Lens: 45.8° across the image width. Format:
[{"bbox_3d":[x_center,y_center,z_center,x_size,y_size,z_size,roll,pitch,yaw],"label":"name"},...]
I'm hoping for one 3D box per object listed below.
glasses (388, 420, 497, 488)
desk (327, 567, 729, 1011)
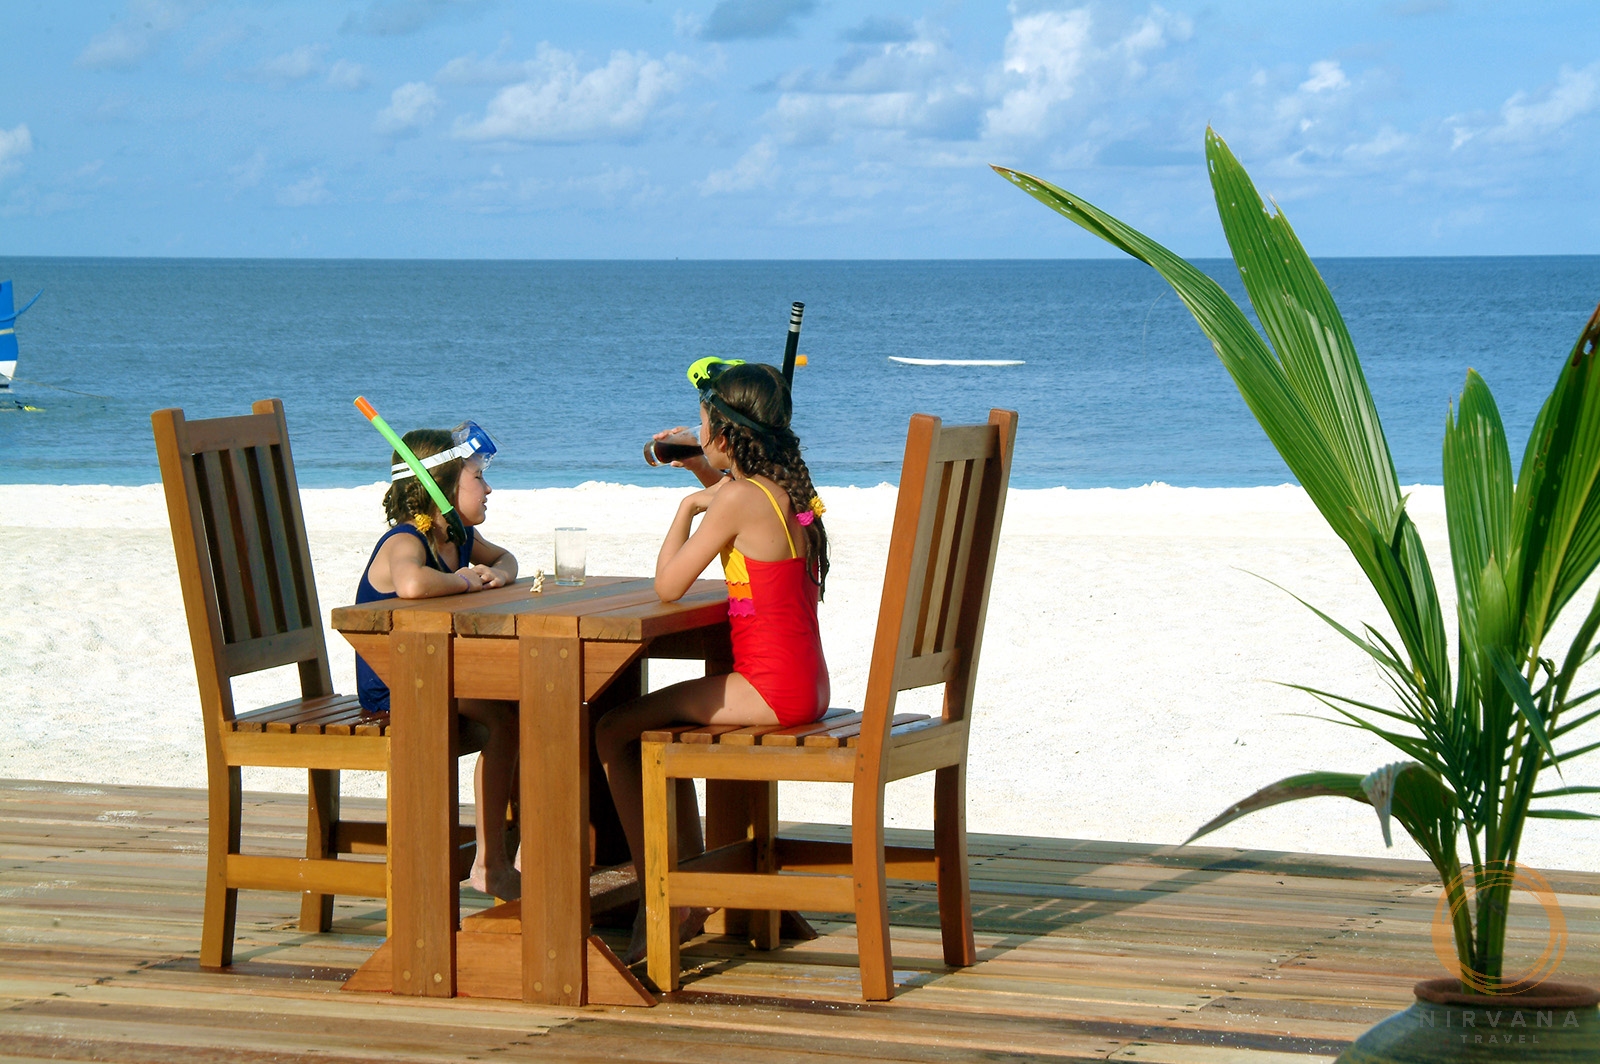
[{"bbox_3d":[-1.178,-0.257,6.198,0.296,0.099,0.201,-19,5,-5],"label":"glasses"},{"bbox_3d":[-0.453,0.888,6.426,1.069,1.091,1.807,-3,-6,33],"label":"desk"}]
